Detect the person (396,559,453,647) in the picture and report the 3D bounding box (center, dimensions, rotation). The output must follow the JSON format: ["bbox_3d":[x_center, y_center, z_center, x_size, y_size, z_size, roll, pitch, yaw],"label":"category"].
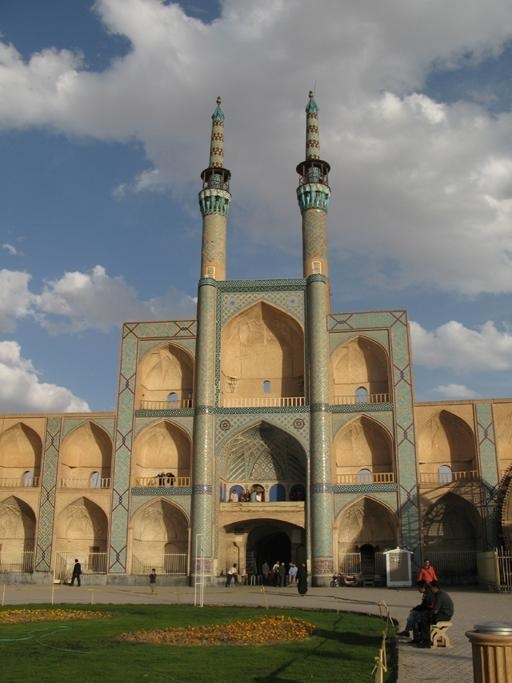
[{"bbox_3d":[1.902,2.960,7.922,0.480,0.646,1.112,-2,-13,7],"label":"person"}]

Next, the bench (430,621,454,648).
[{"bbox_3d":[1.928,3.077,7.504,0.275,0.250,0.246,-1,-37,5],"label":"bench"}]

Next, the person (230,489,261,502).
[{"bbox_3d":[-0.325,4.795,22.602,1.069,0.484,1.582,0,-13,-2],"label":"person"}]
